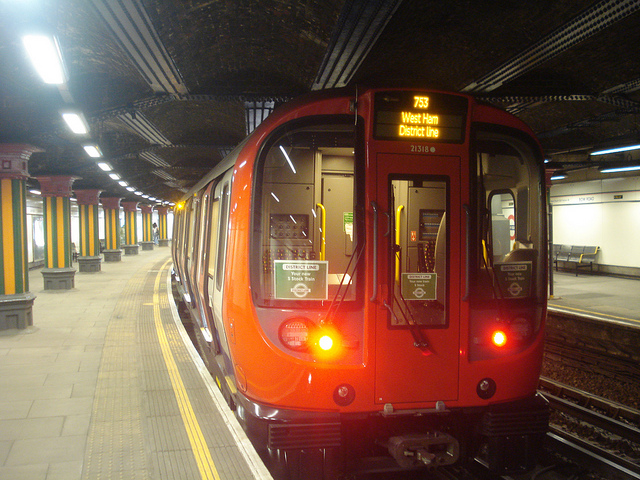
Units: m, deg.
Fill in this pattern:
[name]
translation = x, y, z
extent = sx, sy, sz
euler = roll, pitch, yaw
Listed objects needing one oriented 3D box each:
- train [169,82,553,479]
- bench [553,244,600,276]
[train]
translation = 0.609, 0.572, 5.157
extent = 3.506, 4.301, 1.461
euler = -1, 2, -4
[bench]
translation = 10.568, 0.786, 20.050
extent = 0.868, 1.182, 2.022
euler = -1, 3, -10
